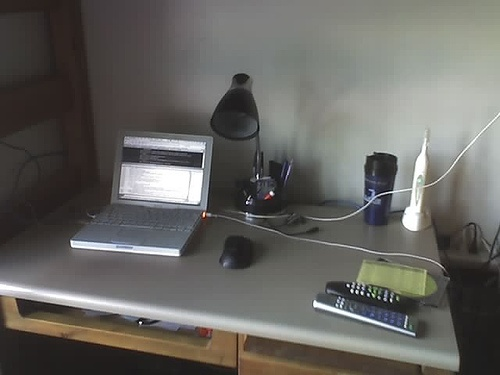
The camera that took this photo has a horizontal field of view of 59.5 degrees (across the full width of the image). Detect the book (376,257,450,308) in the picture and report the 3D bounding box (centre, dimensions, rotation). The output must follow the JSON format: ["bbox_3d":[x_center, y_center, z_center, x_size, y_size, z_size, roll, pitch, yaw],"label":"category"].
[{"bbox_3d":[0.481,0.288,1.309,0.139,0.030,0.088,16,33,28],"label":"book"}]

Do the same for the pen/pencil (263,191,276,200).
[{"bbox_3d":[0.073,0.028,1.638,0.025,0.034,0.010,31,-1,-3],"label":"pen/pencil"}]

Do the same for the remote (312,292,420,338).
[{"bbox_3d":[0.293,0.341,1.229,0.328,0.035,0.097,11,22,19],"label":"remote"}]

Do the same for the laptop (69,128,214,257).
[{"bbox_3d":[-0.344,0.021,1.591,0.419,0.301,0.440,4,20,11],"label":"laptop"}]
